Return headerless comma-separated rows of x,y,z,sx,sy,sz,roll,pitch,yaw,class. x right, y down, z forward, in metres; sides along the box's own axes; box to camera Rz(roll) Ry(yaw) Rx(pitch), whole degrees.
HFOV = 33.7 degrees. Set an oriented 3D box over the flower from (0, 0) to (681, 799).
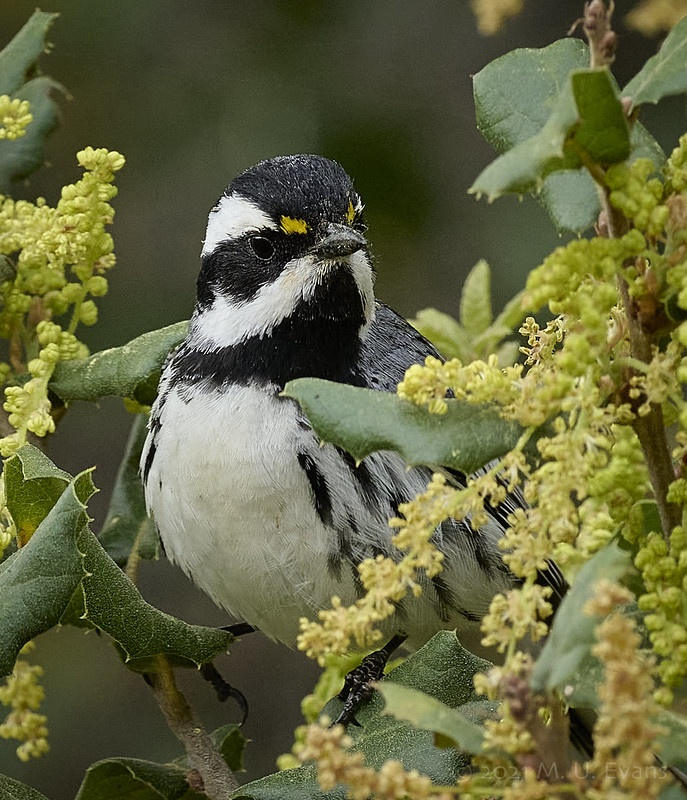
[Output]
-0.086,0.408,2.075,0.690,2.137,0.846,7,64,6,flower
